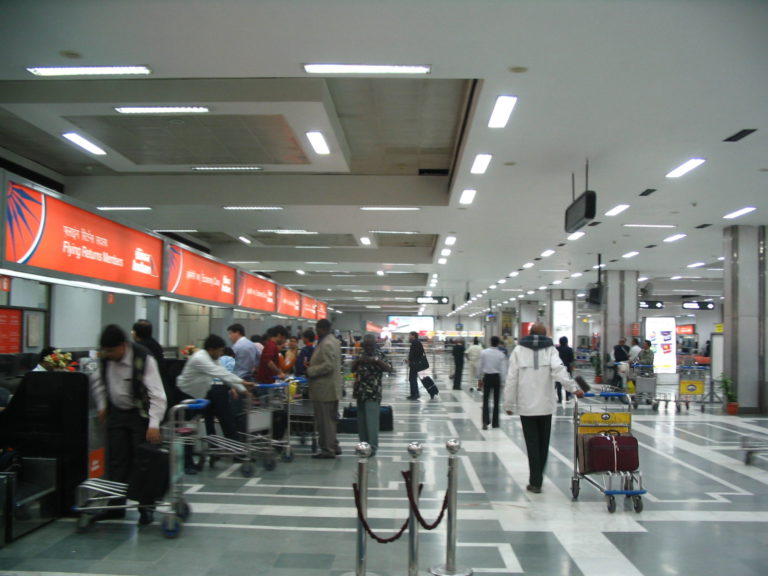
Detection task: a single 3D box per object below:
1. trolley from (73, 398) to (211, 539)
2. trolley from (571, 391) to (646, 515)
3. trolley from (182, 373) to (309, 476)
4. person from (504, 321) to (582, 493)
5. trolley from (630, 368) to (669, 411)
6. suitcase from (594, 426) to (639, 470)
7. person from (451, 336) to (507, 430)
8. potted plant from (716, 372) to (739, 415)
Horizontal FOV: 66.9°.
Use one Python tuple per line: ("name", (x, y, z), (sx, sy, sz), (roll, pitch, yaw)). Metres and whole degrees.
("trolley", (-2.598, 1.925, 6.243), (1.284, 1.190, 0.847), (-1, -15, -10))
("trolley", (2.660, 1.849, 6.750), (0.772, 1.205, 1.061), (-1, -4, 7))
("trolley", (-1.864, 1.883, 8.058), (1.427, 0.999, 1.439), (1, -2, 3))
("person", (1.923, 1.539, 7.179), (0.833, 1.893, 0.364), (-1, -10, 12))
("trolley", (7.115, 2.616, 14.942), (0.820, 1.135, 1.281), (-1, -10, 15))
("suitcase", (2.669, 1.835, 6.743), (0.568, 0.449, 0.392), (0, -5, -1))
("person", (2.127, 1.830, 11.364), (0.536, 1.746, 1.101), (0, -9, 10))
("potted plant", (7.889, 2.439, 13.228), (0.293, 0.834, 0.379), (-4, -11, 29))
